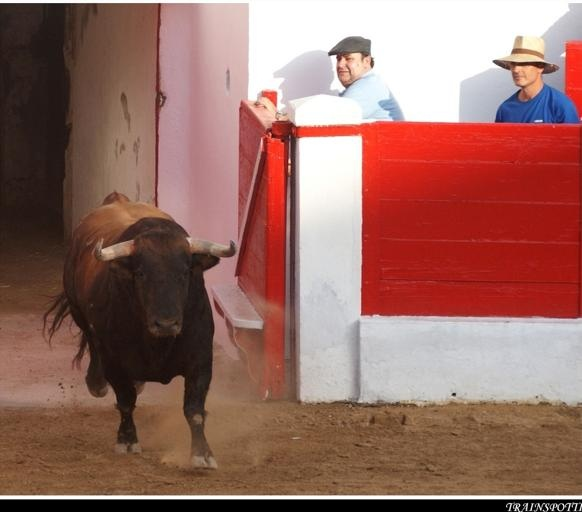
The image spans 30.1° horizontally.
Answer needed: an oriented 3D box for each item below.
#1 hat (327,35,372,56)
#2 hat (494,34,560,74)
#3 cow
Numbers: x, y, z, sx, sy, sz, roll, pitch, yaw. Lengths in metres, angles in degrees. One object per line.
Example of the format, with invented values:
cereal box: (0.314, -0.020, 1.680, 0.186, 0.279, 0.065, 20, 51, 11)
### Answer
hat: (0.439, -1.527, 7.948, 0.219, 0.080, 0.185, 0, -1, -23)
hat: (1.754, -1.478, 8.026, 0.378, 0.175, 0.372, 0, -11, 32)
cow: (-0.847, 0.408, 6.404, 0.725, 1.341, 1.734, -4, 12, -17)
